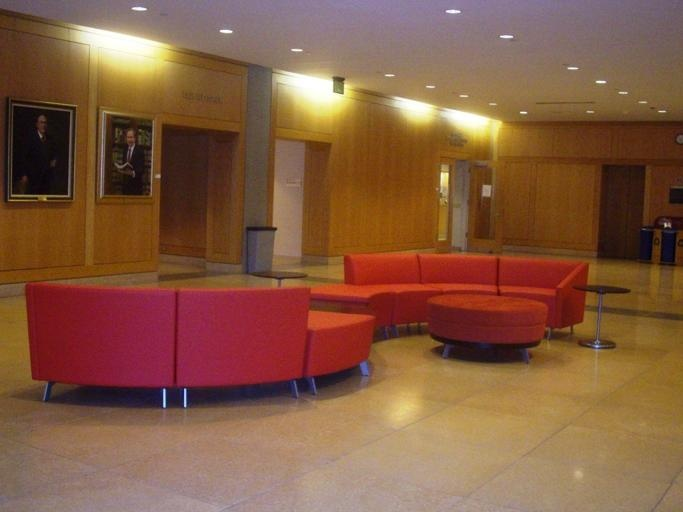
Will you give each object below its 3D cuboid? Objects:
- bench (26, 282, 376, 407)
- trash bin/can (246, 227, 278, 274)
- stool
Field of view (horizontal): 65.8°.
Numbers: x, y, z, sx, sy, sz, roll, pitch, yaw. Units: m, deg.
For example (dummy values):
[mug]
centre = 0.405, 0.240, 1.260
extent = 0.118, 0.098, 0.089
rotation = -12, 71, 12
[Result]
[bench]
centre = -1.202, 0.720, 4.551
extent = 2.653, 1.002, 0.740
rotation = 1, 6, -7
[trash bin/can]
centre = -1.749, -0.144, 11.361
extent = 0.625, 0.990, 0.435
rotation = 0, 6, -17
[stool]
centre = 1.593, 0.761, 5.958
extent = 0.851, 0.429, 0.915
rotation = 3, 4, 37
